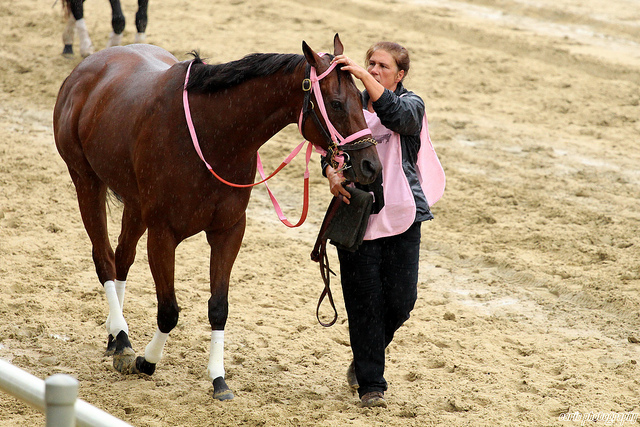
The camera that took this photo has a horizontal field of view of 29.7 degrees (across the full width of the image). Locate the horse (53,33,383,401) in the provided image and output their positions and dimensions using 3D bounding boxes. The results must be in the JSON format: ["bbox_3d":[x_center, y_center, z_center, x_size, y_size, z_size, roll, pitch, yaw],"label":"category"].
[{"bbox_3d":[-1.451,0.079,12.937,1.623,3.796,5.536,-1,8,-36],"label":"horse"}]

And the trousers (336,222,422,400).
[{"bbox_3d":[0.533,0.985,12.249,0.826,1.812,0.670,10,24,-3],"label":"trousers"}]
